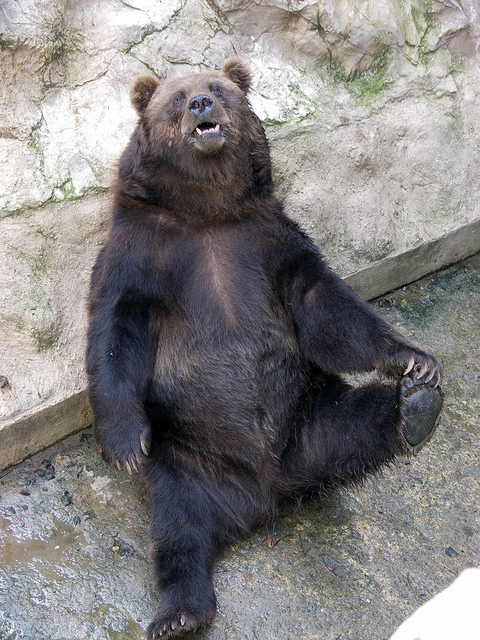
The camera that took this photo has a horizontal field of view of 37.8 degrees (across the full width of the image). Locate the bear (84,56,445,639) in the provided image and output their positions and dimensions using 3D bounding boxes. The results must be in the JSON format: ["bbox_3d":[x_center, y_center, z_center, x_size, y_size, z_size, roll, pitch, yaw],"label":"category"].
[{"bbox_3d":[-0.025,-0.032,2.975,1.308,2.091,0.845,-11,12,-14],"label":"bear"}]
